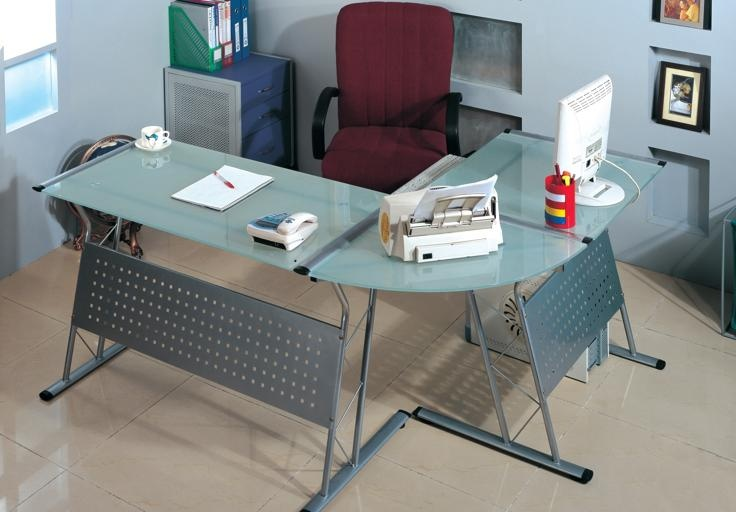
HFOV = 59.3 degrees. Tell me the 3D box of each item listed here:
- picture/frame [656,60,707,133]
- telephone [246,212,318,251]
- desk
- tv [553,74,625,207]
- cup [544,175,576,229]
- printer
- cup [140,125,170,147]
[{"bbox_3d":[1.834,-0.939,3.749,0.325,0.419,0.040,16,30,31],"label":"picture/frame"},{"bbox_3d":[-0.349,-0.151,2.681,0.176,0.088,0.203,15,33,28],"label":"telephone"},{"bbox_3d":[-0.201,-0.074,3.406,2.274,1.042,1.863,21,44,25],"label":"desk"},{"bbox_3d":[1.029,-0.510,2.916,0.407,0.476,0.283,-29,34,-34],"label":"tv"},{"bbox_3d":[0.817,-0.226,2.739,0.145,0.225,0.140,-4,31,3],"label":"cup"},{"bbox_3d":[0.311,-0.185,2.672,0.468,0.315,0.378,-7,22,-15],"label":"printer"},{"bbox_3d":[-1.111,-0.643,3.400,0.098,0.091,0.148,1,23,2],"label":"cup"}]
